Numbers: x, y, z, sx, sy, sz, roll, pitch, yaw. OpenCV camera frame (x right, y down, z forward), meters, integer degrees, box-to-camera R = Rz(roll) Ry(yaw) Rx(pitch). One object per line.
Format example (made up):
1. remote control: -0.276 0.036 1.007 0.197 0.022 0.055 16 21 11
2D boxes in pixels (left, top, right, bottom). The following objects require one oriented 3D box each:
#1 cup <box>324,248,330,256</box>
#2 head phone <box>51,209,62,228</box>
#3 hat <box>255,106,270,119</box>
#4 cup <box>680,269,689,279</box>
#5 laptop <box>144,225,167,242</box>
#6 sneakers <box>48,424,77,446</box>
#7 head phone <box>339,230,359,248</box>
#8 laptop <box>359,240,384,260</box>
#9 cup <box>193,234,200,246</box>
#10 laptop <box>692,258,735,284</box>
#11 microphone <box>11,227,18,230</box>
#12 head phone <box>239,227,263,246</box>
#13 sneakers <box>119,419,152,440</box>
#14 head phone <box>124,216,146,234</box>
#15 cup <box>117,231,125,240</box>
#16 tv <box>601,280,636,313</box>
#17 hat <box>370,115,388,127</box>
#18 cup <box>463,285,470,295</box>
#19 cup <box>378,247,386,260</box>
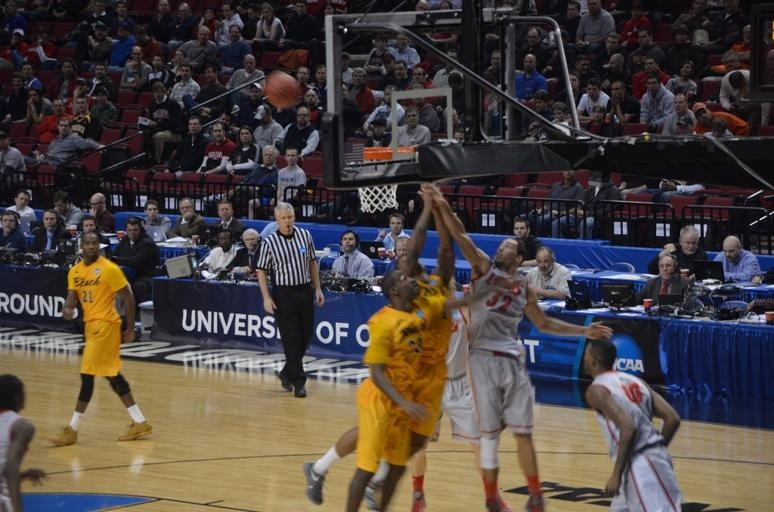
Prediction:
1. cup: -1.066 -0.086 18.584 0.123 0.131 0.122 2 1 0
2. head phone: -6.182 -0.717 19.501 0.226 0.303 0.108 0 32 -4
3. hat: -2.564 -2.962 21.652 0.289 0.229 0.419 5 14 17
4. cup: 4.479 0.260 15.632 0.137 0.132 0.136 -1 -5 0
5. laptop: -4.362 -0.518 19.759 0.414 0.267 0.303 10 21 34
6. sneakers: -4.046 2.270 13.162 0.216 0.155 0.434 -43 -8 18
7. head phone: -0.640 -0.281 17.412 0.244 0.288 0.301 -1 -8 4
8. laptop: -0.258 -0.103 18.095 0.430 0.301 0.305 8 18 31
9. cup: -3.591 -0.294 19.420 0.166 0.172 0.164 2 4 0
10. laptop: 4.886 0.211 15.775 0.478 0.320 0.334 3 32 20
11. microphone: -7.033 -0.520 19.642 0.083 0.057 0.042 2 -7 -17
12. head phone: -2.346 -0.345 17.925 0.270 0.309 0.322 -3 -35 -5
13. sneakers: -3.196 2.233 13.399 0.475 0.213 0.176 -6 4 -12
14. head phone: -4.410 -0.551 18.190 0.244 0.329 0.293 2 30 -1
15. cup: -5.044 -0.389 19.720 0.195 0.190 0.192 1 3 0
16. tv: 3.450 0.546 15.619 0.690 0.585 0.348 2 16 14
17. hat: -0.138 -2.030 15.795 0.225 0.152 0.306 5 14 39
18. cup: 0.852 0.353 11.112 0.066 0.080 0.080 -4 4 -1
19. cup: -0.094 -0.047 18.028 0.171 0.268 0.171 0 1 0
